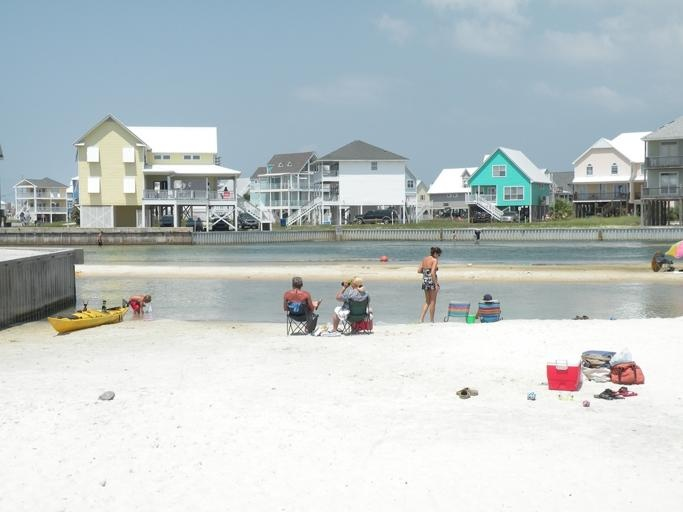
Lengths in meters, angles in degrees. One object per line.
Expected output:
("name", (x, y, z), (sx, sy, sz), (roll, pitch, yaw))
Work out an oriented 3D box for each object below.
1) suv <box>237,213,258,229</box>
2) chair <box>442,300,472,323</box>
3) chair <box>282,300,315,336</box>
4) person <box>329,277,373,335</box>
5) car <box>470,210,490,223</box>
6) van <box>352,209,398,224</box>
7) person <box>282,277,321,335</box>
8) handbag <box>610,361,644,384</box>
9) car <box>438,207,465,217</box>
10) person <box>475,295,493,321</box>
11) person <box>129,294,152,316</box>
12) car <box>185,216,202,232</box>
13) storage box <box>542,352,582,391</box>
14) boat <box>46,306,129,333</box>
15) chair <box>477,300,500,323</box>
("suv", (-8.396, -2.924, 70.749), (0.996, 0.961, 2.012), (-2, 0, -25))
("chair", (3.055, 1.371, 21.257), (0.651, 0.803, 0.714), (1, -9, 8))
("chair", (-0.915, 1.373, 18.787), (0.664, 0.972, 0.766), (4, 13, 20))
("person", (0.118, 1.130, 18.512), (1.081, 1.543, 1.140), (-3, 12, -14))
("car", (14.728, -4.204, 85.861), (1.660, 1.137, 1.337), (0, 7, 11))
("van", (3.451, -3.916, 80.751), (3.577, 1.383, 1.749), (2, 0, 0))
("person", (-0.917, 1.111, 18.673), (0.779, 1.350, 0.753), (-2, 9, -3))
("handbag", (4.920, 1.966, 14.039), (0.407, 0.282, 0.403), (0, 5, -3))
("car", (15.017, -5.874, 109.766), (2.653, 1.213, 4.688), (-8, 12, -35))
("person", (3.567, 1.256, 20.309), (0.600, 0.513, 0.838), (-1, 6, -3))
("person", (-5.525, 1.314, 22.268), (0.537, 0.607, 1.076), (-4, 10, -15))
("car", (-12.240, -2.697, 68.106), (0.937, 0.821, 1.607), (1, 9, -3))
("storage box", (3.833, 1.985, 14.008), (0.544, 0.518, 0.740), (-1, 2, 18))
("boat", (-6.183, 1.556, 20.594), (0.661, 0.479, 2.869), (0, 2, 16))
("chair", (3.572, 1.372, 19.735), (0.536, 0.491, 0.778), (0, 10, 7))
